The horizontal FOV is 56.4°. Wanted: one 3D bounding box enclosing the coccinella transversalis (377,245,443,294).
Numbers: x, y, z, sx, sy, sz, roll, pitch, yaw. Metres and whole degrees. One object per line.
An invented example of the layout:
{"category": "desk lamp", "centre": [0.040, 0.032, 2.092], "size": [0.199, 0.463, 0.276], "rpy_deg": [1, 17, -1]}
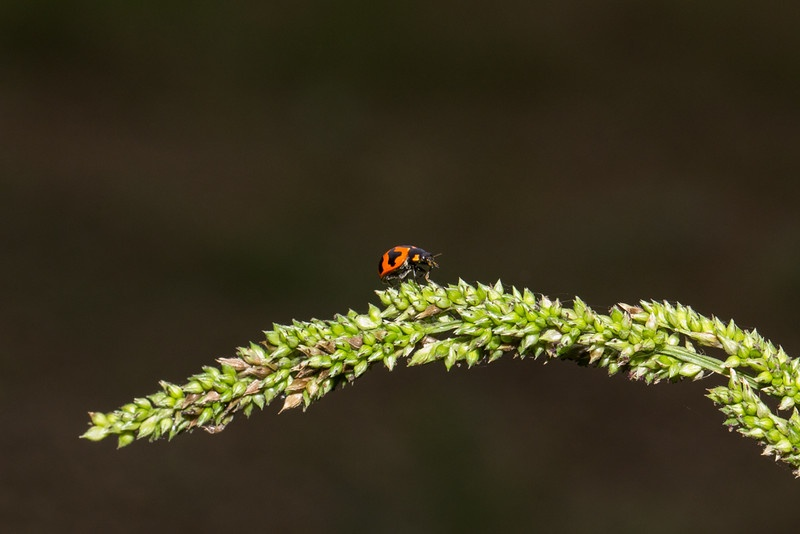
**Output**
{"category": "coccinella transversalis", "centre": [0.023, -0.005, 3.046], "size": [0.267, 0.208, 0.155], "rpy_deg": [-7, -79, 21]}
